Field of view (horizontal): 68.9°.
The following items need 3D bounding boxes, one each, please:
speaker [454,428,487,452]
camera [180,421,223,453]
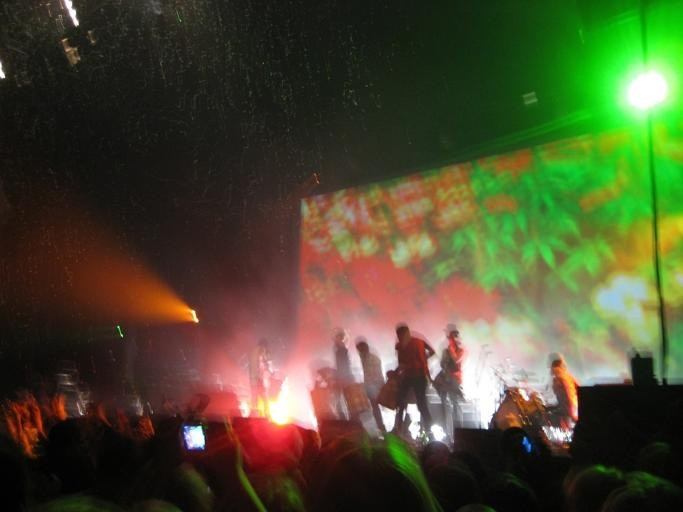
[{"bbox_3d":[1.227,1.743,4.733,0.355,0.284,0.203,-3,-8,15],"label":"speaker"},{"bbox_3d":[-1.216,1.577,4.340,0.384,0.311,0.119,-6,-3,37],"label":"camera"}]
